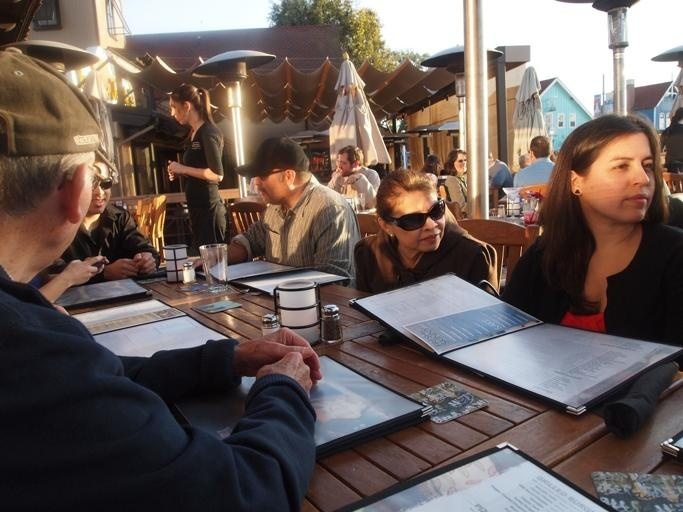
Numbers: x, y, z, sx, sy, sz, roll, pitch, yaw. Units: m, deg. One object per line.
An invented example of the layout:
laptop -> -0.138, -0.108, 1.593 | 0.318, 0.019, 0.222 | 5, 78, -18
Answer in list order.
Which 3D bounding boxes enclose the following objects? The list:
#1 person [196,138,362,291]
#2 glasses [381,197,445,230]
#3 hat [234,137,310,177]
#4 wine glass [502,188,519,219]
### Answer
person -> -0.510, -0.263, 3.599 | 1.001, 1.675, 1.155 | 0, 3, -27
glasses -> 0.409, -0.197, 2.426 | 0.199, 0.065, 0.195 | -22, 14, -31
hat -> -0.459, -0.672, 3.177 | 0.396, 0.204, 0.268 | 1, 11, -3
wine glass -> 1.783, -0.560, 4.951 | 0.253, 0.315, 0.254 | -1, -1, -4
